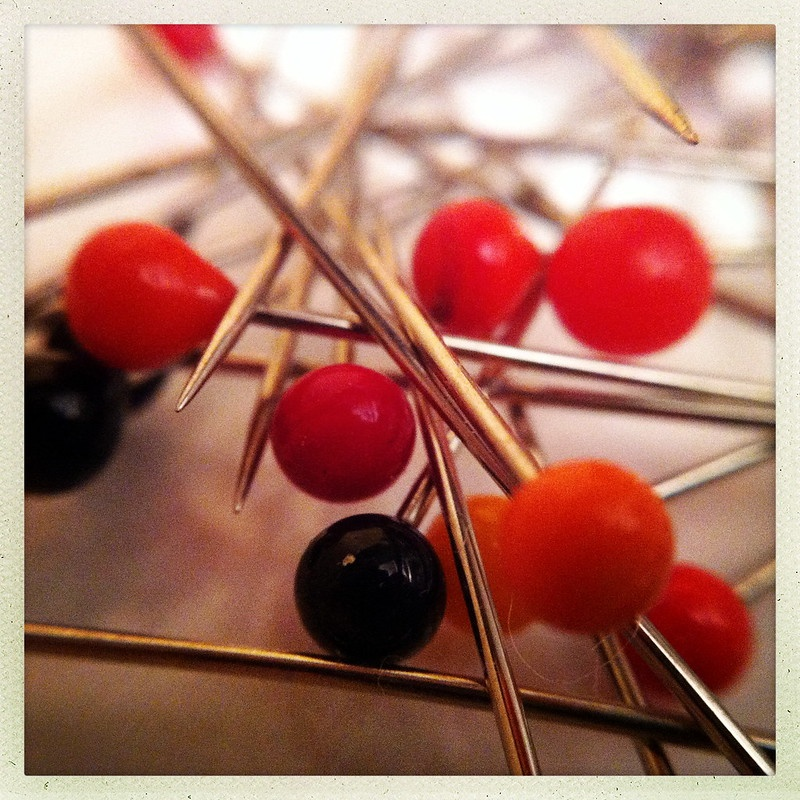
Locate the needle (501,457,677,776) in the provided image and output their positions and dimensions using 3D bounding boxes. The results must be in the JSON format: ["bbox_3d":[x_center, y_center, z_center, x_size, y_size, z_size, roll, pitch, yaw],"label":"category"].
[{"bbox_3d":[0.158,0.153,0.697,0.086,0.092,0.251,-15,84,19],"label":"needle"}]

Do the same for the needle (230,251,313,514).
[{"bbox_3d":[-0.104,-0.006,0.673,0.014,0.016,0.213,16,74,-7],"label":"needle"}]

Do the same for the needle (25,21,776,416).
[{"bbox_3d":[-0.010,-0.153,0.688,0.395,0.012,0.407,40,76,13],"label":"needle"}]

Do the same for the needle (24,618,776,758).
[{"bbox_3d":[0.005,0.226,0.675,0.510,0.032,0.014,11,23,-1],"label":"needle"}]
